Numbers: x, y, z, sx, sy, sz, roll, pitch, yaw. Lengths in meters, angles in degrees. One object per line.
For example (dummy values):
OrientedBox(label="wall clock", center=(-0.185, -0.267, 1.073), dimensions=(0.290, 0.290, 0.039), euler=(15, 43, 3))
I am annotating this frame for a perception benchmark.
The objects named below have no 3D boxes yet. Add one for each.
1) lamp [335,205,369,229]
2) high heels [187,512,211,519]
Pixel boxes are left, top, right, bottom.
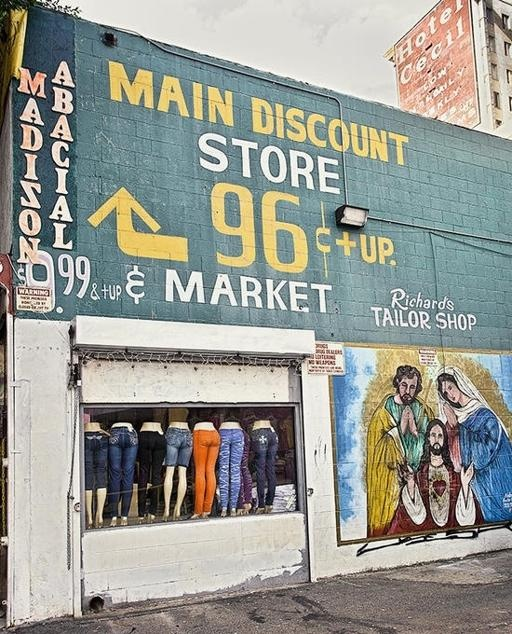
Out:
OrientedBox(label="lamp", center=(1.275, -1.287, 11.623), dimensions=(0.393, 0.296, 0.287), euler=(7, -31, -30))
OrientedBox(label="high heels", center=(-0.653, 2.267, 9.953), dimensions=(0.248, 0.111, 0.079), euler=(12, -15, -23))
